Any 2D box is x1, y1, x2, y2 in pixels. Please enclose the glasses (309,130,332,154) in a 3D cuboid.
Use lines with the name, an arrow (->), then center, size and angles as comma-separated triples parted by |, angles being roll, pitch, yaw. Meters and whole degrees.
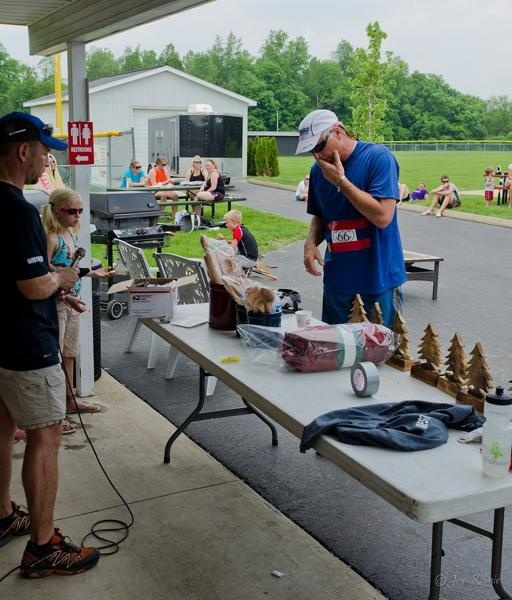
glasses -> 0.323, -0.786, 2.648 | 0.085, 0.109, 0.030 | -1, -38, 43

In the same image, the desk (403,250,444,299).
desk -> 2.936, -0.404, 9.230 | 0.753, 0.880, 0.759 | -6, 17, -25

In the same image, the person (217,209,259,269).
person -> -0.207, -1.012, 8.844 | 0.615, 0.979, 0.621 | -4, 14, -30

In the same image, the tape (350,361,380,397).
tape -> 0.404, 0.301, 1.958 | 0.055, 0.108, 0.114 | 2, 9, -17

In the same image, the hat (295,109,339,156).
hat -> 0.316, -0.853, 2.659 | 0.208, 0.235, 0.261 | 2, 8, 6

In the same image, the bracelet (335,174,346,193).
bracelet -> 0.414, -0.571, 2.602 | 0.028, 0.068, 0.055 | 7, -5, 3
